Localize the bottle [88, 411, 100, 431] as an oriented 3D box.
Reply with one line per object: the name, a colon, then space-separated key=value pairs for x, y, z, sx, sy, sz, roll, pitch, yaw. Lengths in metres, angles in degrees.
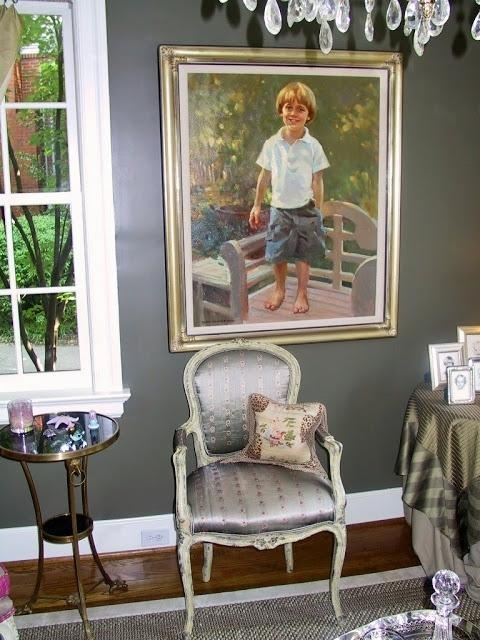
bottle: x=-0.597 y=0.415 z=2.220 sx=0.061 sy=0.072 sz=0.062 roll=0 pitch=1 yaw=-6

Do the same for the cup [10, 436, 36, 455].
cup: x=-0.822 y=0.470 z=2.055 sx=0.062 sy=0.076 sz=0.065 roll=0 pitch=-2 yaw=0

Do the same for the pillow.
pillow: x=0.129 y=0.509 z=2.327 sx=0.325 sy=0.247 sz=0.132 roll=6 pitch=12 yaw=23

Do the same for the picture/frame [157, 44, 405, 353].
picture/frame: x=0.154 y=-0.622 z=2.561 sx=1.355 sy=1.664 sz=0.124 roll=-3 pitch=14 yaw=-14
